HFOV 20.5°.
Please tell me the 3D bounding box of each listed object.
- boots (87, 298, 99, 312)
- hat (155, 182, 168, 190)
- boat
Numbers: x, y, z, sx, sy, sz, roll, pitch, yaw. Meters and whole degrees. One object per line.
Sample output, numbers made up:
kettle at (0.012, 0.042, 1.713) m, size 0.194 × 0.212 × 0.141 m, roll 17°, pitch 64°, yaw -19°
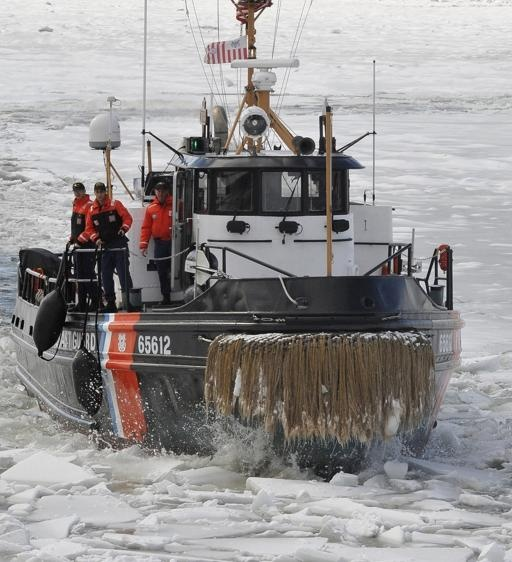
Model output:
boots at (-1.780, 0.250, 15.418) m, size 0.133 × 0.149 × 0.131 m, roll -5°, pitch 10°, yaw -28°
hat at (-1.023, -1.044, 15.580) m, size 0.092 × 0.109 × 0.126 m, roll -2°, pitch -7°, yaw -12°
boat at (-0.616, 0.072, 16.954) m, size 2.909 × 4.198 × 7.432 m, roll 0°, pitch 1°, yaw -18°
